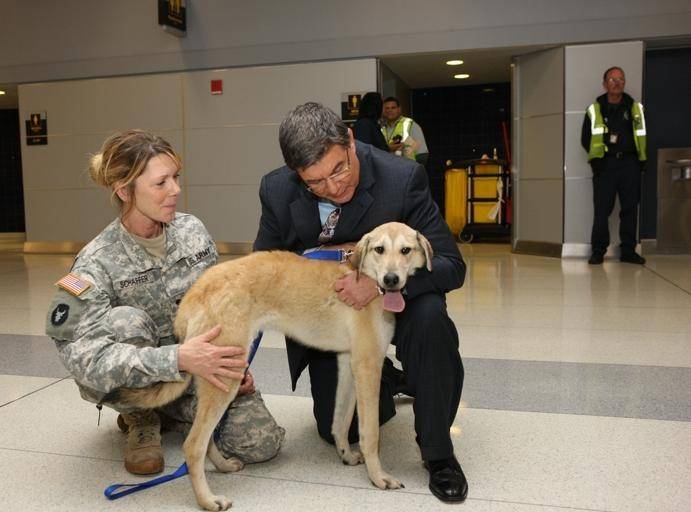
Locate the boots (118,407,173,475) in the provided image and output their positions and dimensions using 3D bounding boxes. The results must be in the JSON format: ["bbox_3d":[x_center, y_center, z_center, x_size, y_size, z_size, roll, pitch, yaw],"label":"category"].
[{"bbox_3d":[-1.115,1.023,3.231,0.148,0.224,0.486,2,3,-21],"label":"boots"}]

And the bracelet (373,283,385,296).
[{"bbox_3d":[0.179,0.171,2.986,0.022,0.058,0.038,-12,-1,-27],"label":"bracelet"}]

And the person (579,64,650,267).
[{"bbox_3d":[3.841,-1.285,8.288,0.918,2.736,0.525,3,12,21],"label":"person"}]

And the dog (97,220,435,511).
[{"bbox_3d":[-0.164,0.308,3.424,2.324,1.975,0.850,-4,11,-14],"label":"dog"}]

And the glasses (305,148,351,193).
[{"bbox_3d":[-0.078,-0.439,3.033,0.198,0.122,0.260,-31,12,20],"label":"glasses"}]

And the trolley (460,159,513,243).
[{"bbox_3d":[2.996,-1.154,11.645,1.229,1.583,1.228,-5,7,-22],"label":"trolley"}]

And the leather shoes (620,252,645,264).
[{"bbox_3d":[4.138,0.018,8.367,0.142,0.134,0.310,-5,4,-34],"label":"leather shoes"}]
